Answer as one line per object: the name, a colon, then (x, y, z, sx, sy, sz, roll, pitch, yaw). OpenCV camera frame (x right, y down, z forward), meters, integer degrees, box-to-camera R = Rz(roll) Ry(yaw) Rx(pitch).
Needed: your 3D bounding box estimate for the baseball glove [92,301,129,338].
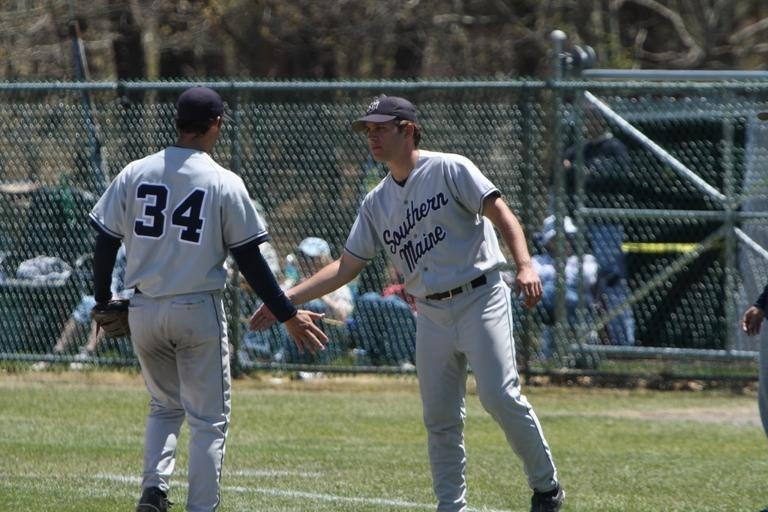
baseball glove: (-2.597, 0.570, 13.096, 0.360, 0.319, 0.288, 8, 9, 16)

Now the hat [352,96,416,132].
hat: (0.019, -1.432, 13.113, 0.472, 0.238, 0.331, 2, -4, -15)

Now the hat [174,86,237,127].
hat: (-1.695, -1.468, 12.951, 0.485, 0.278, 0.337, -11, 19, -39)
